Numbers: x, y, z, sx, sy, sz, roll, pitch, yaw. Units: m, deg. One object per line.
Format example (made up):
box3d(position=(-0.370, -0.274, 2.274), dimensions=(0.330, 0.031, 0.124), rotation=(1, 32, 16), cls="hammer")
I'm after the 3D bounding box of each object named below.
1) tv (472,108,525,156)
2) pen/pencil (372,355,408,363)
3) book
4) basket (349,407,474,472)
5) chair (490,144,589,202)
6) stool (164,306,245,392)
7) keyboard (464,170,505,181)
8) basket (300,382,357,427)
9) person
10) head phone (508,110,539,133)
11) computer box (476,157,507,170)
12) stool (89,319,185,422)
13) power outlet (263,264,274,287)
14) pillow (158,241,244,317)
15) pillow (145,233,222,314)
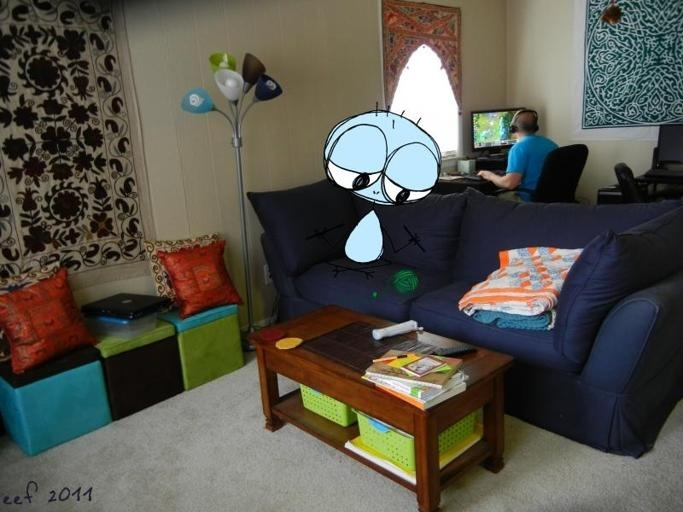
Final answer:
box3d(position=(1.674, -1.353, 5.507), dimensions=(0.627, 0.472, 0.158), rotation=(-8, 15, -15), cls="tv")
box3d(position=(0.227, 0.460, 2.278), dimensions=(0.125, 0.015, 0.029), rotation=(-7, 16, -16), cls="pen/pencil")
box3d(position=(0.300, 0.502, 2.152), dimensions=(0.245, 0.062, 0.251), rotation=(-11, 17, -33), cls="book")
box3d(position=(0.281, 0.827, 2.332), dimensions=(0.287, 0.124, 0.354), rotation=(-15, 20, -43), cls="basket")
box3d(position=(1.724, -0.737, 4.438), dimensions=(0.456, 0.682, 0.530), rotation=(-18, 27, -22), cls="chair")
box3d(position=(-0.828, 0.501, 3.329), dimensions=(0.475, 0.506, 0.473), rotation=(-13, 12, -39), cls="stool")
box3d(position=(1.341, -0.754, 4.743), dimensions=(0.177, 0.053, 0.188), rotation=(-15, 24, -40), cls="keyboard")
box3d(position=(-0.056, 0.761, 2.652), dimensions=(0.260, 0.144, 0.189), rotation=(11, 18, 38), cls="basket")
box3d(position=(1.626, -0.842, 4.710), dimensions=(0.655, 0.989, 0.562), rotation=(-9, 20, -9), cls="person")
box3d(position=(1.623, -1.189, 4.492), dimensions=(0.203, 0.197, 0.208), rotation=(1, 20, 15), cls="head phone")
box3d(position=(1.591, -0.969, 5.348), dimensions=(0.247, 0.142, 0.178), rotation=(4, -2, 9), cls="computer box")
box3d(position=(-1.186, 0.566, 3.172), dimensions=(0.554, 0.584, 0.512), rotation=(-12, 13, -30), cls="stool")
box3d(position=(-0.563, 0.149, 4.020), dimensions=(0.103, 0.150, 0.039), rotation=(-4, 8, 16), cls="power outlet")
box3d(position=(-0.896, 0.139, 3.279), dimensions=(0.426, 0.417, 0.259), rotation=(-17, 23, -33), cls="pillow")
box3d(position=(-1.103, 0.116, 3.311), dimensions=(0.430, 0.424, 0.134), rotation=(-8, -7, -35), cls="pillow")
